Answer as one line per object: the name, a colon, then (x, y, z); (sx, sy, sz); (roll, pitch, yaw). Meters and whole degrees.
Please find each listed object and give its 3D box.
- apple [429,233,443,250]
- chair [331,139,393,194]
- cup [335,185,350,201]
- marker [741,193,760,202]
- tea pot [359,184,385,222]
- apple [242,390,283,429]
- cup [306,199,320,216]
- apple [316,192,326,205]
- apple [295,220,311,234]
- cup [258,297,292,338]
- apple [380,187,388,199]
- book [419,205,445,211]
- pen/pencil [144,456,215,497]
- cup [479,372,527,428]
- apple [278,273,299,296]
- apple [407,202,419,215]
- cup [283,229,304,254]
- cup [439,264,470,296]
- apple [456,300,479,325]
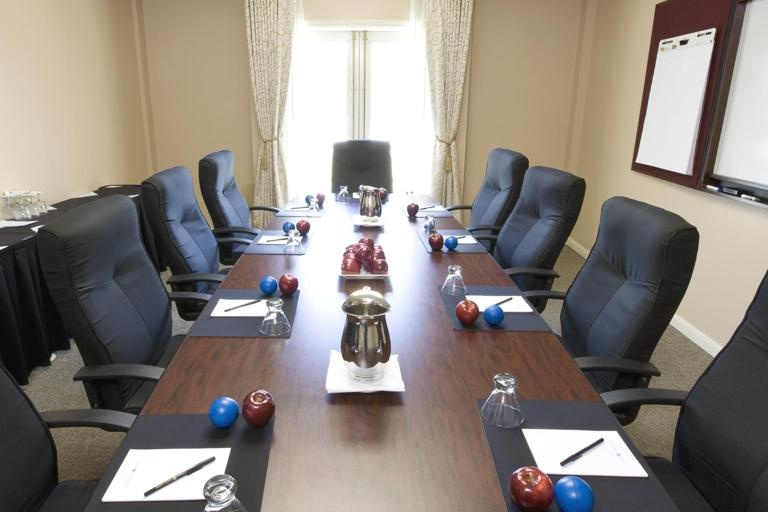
apple: (0.318, -0.087, 2.935); (0.089, 0.118, 0.093); (0, 7, 2)
chair: (-0.225, -0.874, 4.932); (0.478, 0.729, 0.569); (1, 4, 1)
cup: (-0.354, -0.533, 4.276); (0.149, 0.157, 0.154); (1, 17, 0)
marker: (2.470, -0.392, 3.249); (0.037, 0.030, 0.133); (-5, 23, -12)
tea pot: (-0.098, -0.378, 3.520); (0.147, 0.264, 0.242); (1, 6, -3)
apple: (-0.421, 0.521, 1.668); (0.109, 0.121, 0.115); (0, 4, -3)
cup: (-0.549, -0.365, 3.773); (0.142, 0.167, 0.148); (0, 9, 0)
apple: (-0.520, -0.474, 4.042); (0.085, 0.100, 0.088); (-1, 11, -6)
apple: (-0.536, -0.194, 3.214); (0.086, 0.095, 0.089); (1, 7, -4)
cup: (-0.468, 0.250, 2.059); (0.141, 0.142, 0.145); (2, 9, 0)
apple: (-0.002, -0.547, 4.206); (0.090, 0.114, 0.093); (-2, 11, -6)
book: (0.386, -0.393, 3.959); (0.245, 0.022, 0.194); (-4, 8, 11)
pen/pencil: (-0.629, 0.685, 1.484); (0.191, 0.023, 0.020); (-26, 43, -35)
cup: (0.409, 0.504, 1.735); (0.165, 0.170, 0.165); (0, 14, 0)
apple: (-0.461, 0.143, 2.365); (0.092, 0.107, 0.094); (11, 19, 16)
apple: (0.231, -0.363, 3.722); (0.080, 0.090, 0.084); (0, 3, 0)
cup: (-0.537, -0.089, 2.958); (0.125, 0.158, 0.156); (0, 9, -9)
cup: (0.361, 0.125, 2.442); (0.133, 0.136, 0.142); (0, 17, 0)
apple: (0.370, 0.253, 2.124); (0.093, 0.099, 0.095); (-1, 11, 0)
